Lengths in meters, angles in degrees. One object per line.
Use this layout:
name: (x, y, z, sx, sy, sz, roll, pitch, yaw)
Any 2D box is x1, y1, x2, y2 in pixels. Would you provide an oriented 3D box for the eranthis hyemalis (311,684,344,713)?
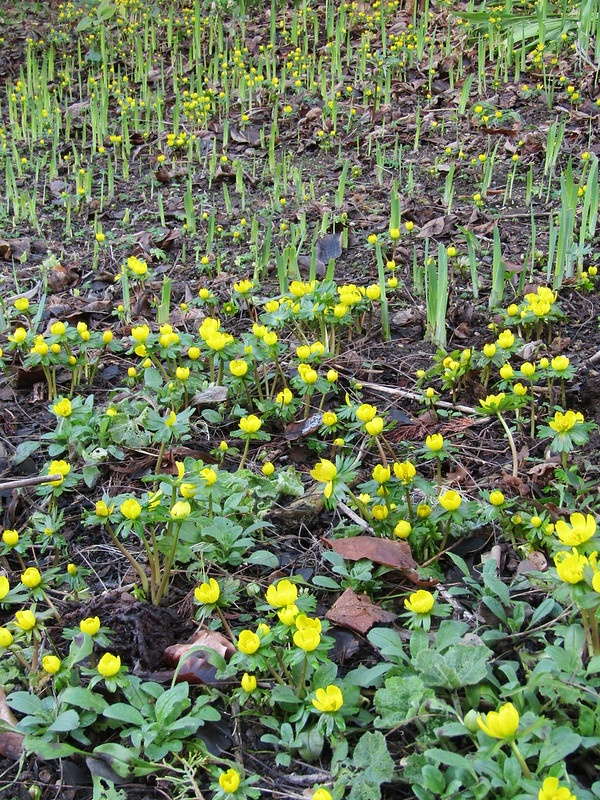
eranthis hyemalis: (0.059, 0.636, 1.689, 0.063, 0.042, 0.071, -9, 17, 0)
